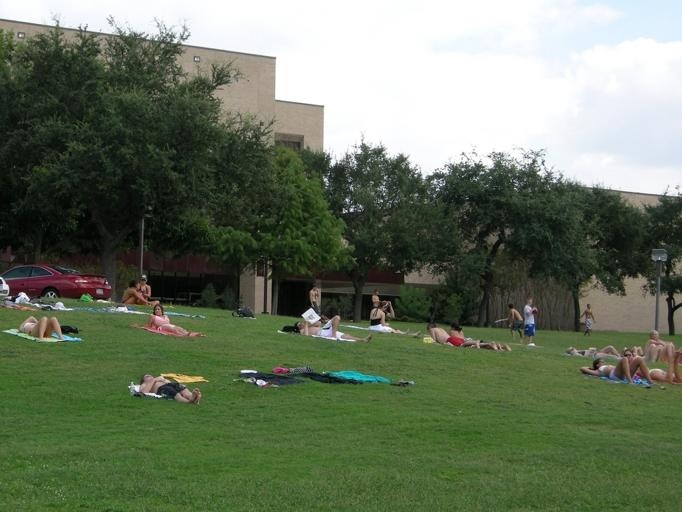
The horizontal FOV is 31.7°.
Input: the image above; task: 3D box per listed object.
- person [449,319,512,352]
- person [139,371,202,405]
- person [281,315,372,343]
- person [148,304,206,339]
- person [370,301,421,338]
[{"bbox_3d":[5.141,3.125,46.702,2.798,1.131,1.014,-1,-7,29],"label":"person"},{"bbox_3d":[-5.114,3.990,35.810,1.766,0.470,0.829,16,13,29],"label":"person"},{"bbox_3d":[-0.633,2.606,45.546,3.258,0.907,1.198,8,15,21],"label":"person"},{"bbox_3d":[-6.210,2.386,43.653,2.185,0.904,1.597,14,18,39],"label":"person"},{"bbox_3d":[2.220,2.684,51.377,2.250,1.302,0.957,12,1,-30],"label":"person"}]
